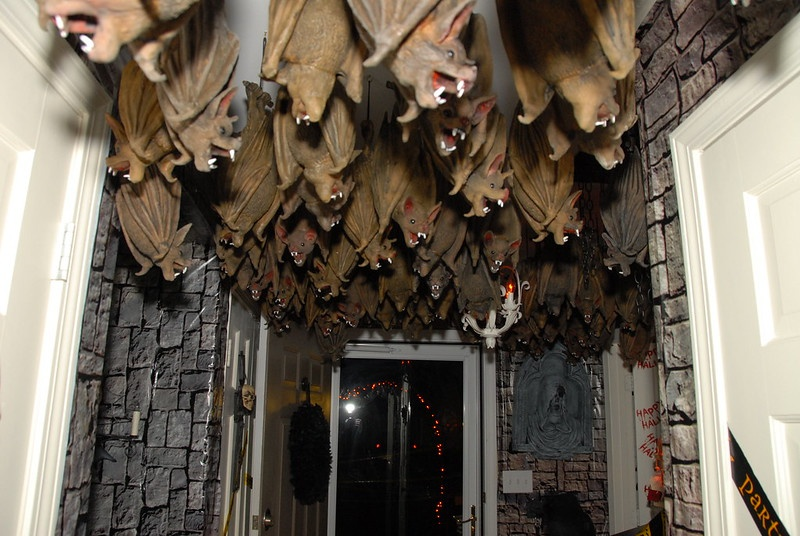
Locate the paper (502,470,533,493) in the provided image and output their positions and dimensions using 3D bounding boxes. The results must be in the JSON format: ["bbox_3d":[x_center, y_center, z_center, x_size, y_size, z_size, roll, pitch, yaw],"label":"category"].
[{"bbox_3d":[1.011,1.827,5.329,0.275,0.182,0.073,5,-20,-18],"label":"paper"}]
